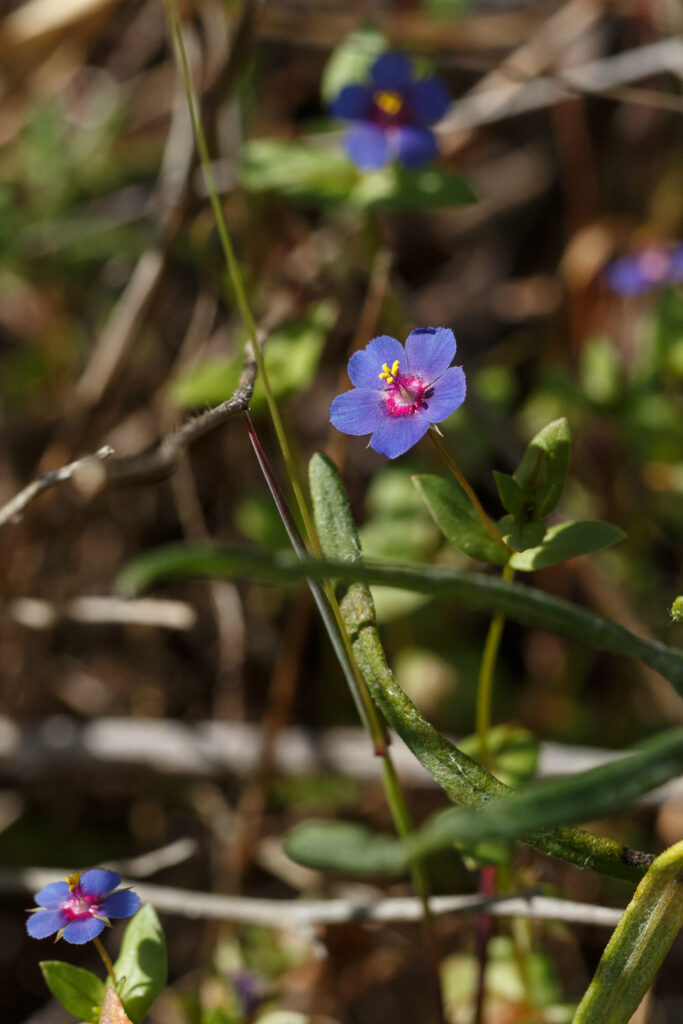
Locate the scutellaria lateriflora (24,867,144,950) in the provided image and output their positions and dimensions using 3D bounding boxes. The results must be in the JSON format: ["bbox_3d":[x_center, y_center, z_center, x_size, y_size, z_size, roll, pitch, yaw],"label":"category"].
[{"bbox_3d":[-0.335,0.547,1.352,0.120,0.057,0.118,-31,43,-28],"label":"scutellaria lateriflora"}]

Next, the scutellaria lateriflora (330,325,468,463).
[{"bbox_3d":[0.061,-0.157,1.326,0.204,0.094,0.178,-9,60,29],"label":"scutellaria lateriflora"}]

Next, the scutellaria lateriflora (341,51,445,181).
[{"bbox_3d":[0.101,-0.744,1.911,0.221,0.195,0.193,-13,44,6],"label":"scutellaria lateriflora"}]
